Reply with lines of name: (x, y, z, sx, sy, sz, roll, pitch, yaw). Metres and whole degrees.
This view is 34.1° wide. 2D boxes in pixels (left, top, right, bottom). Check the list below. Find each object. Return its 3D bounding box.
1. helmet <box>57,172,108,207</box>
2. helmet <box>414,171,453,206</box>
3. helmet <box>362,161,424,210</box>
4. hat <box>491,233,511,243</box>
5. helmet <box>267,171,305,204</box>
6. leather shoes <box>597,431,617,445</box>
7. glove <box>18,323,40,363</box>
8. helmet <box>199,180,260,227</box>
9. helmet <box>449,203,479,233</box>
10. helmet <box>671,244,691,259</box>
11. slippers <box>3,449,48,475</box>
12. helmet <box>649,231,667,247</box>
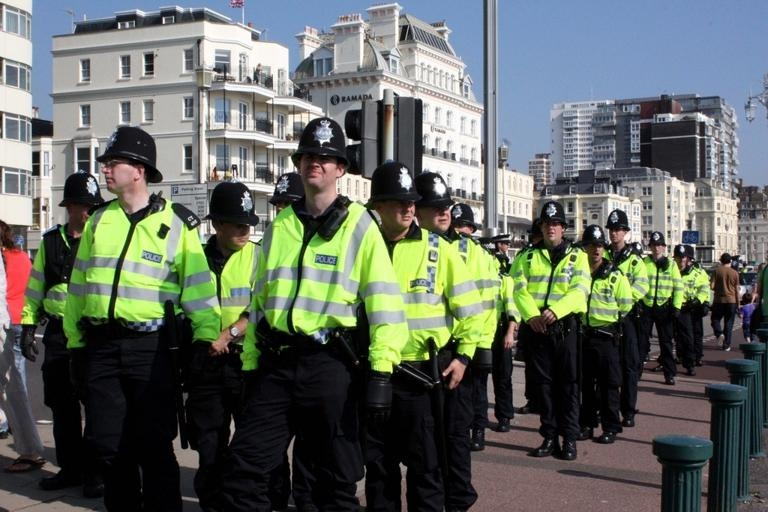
helmet: (-4.063, -0.901, 16.837, 0.703, 0.419, 0.454, -3, 1, -12)
helmet: (0.654, -0.855, 16.261, 0.518, 0.305, 0.385, 9, 11, 39)
helmet: (0.107, -0.899, 15.343, 0.620, 0.365, 0.448, 2, 4, 40)
hat: (2.022, -0.309, 21.519, 0.250, 0.104, 0.199, -6, 1, -31)
helmet: (-1.294, -0.950, 17.501, 0.441, 0.361, 0.599, 3, -1, 22)
leather shoes: (3.351, 2.763, 18.952, 0.131, 0.117, 0.302, -6, -12, 36)
glove: (-4.880, 1.190, 17.199, 0.224, 0.420, 1.130, 1, 0, -16)
helmet: (-2.017, -0.707, 16.317, 0.694, 0.354, 0.504, 10, 5, 37)
helmet: (1.218, -0.592, 19.211, 0.422, 0.270, 0.448, 1, 7, 0)
helmet: (6.243, -0.097, 26.177, 0.317, 0.210, 0.429, -1, -1, 16)
slippers: (-4.844, 2.803, 16.912, 0.487, 0.119, 0.229, -5, 12, -30)
helmet: (5.242, -0.326, 24.112, 0.268, 0.196, 0.368, 1, -7, 29)
